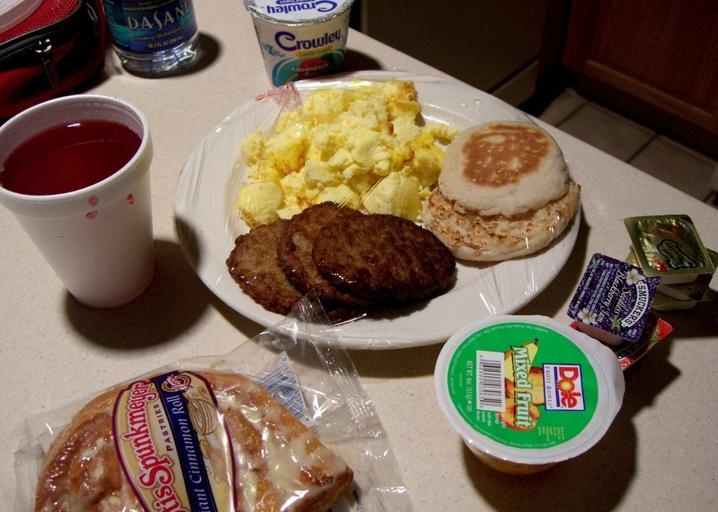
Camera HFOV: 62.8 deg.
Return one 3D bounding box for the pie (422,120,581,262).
[{"bbox_3d":[0.300,-0.117,1.234,0.288,0.142,0.301,38,73,27],"label":"pie"}]
